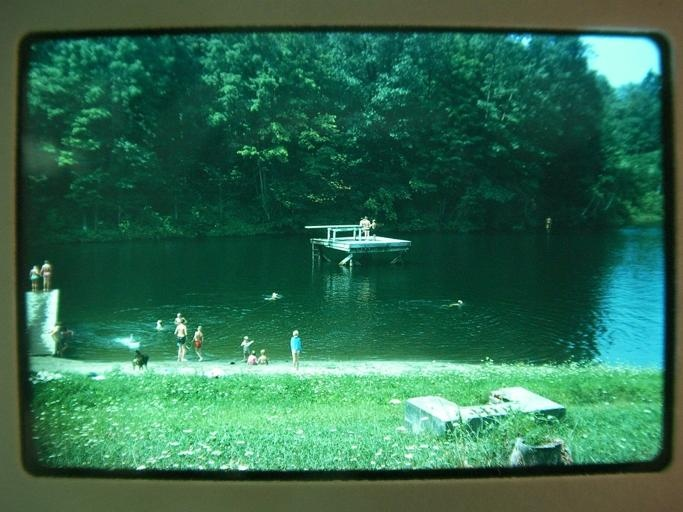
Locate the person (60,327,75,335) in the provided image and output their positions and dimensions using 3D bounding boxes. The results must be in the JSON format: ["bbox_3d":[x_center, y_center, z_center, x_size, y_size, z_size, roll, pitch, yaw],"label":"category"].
[{"bbox_3d":[-9.359,2.580,22.385,0.495,0.211,0.879,0,-8,-29],"label":"person"}]
